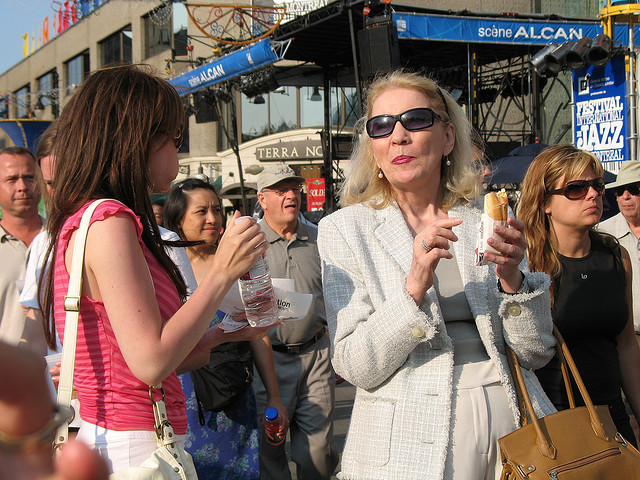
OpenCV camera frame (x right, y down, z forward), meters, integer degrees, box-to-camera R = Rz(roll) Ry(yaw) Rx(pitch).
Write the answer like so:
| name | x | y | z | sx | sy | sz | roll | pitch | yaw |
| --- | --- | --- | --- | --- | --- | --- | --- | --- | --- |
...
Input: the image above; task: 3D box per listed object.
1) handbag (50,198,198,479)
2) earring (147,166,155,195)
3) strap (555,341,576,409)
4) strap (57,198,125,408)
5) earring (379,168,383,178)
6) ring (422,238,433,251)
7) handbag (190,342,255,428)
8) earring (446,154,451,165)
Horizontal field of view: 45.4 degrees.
| name | x | y | z | sx | sy | sz | roll | pitch | yaw |
| --- | --- | --- | --- | --- | --- | --- | --- | --- | --- |
| handbag | -0.856 | 0.441 | 3.299 | 0.619 | 1.213 | 0.432 | -1 | 6 | -3 |
| earring | -0.790 | -0.276 | 3.586 | 0.032 | 0.124 | 0.070 | -1 | 6 | -7 |
| strap | 1.235 | 0.687 | 3.809 | 0.030 | 0.319 | 0.072 | -7 | -14 | -9 |
| strap | -1.032 | 0.262 | 3.335 | 0.136 | 0.864 | 0.302 | 4 | 7 | 35 |
| earring | 0.328 | -0.347 | 4.130 | 0.022 | 0.042 | 0.016 | -2 | -17 | -5 |
| ring | 0.503 | 0.025 | 3.591 | 0.035 | 0.018 | 0.045 | 22 | 22 | -31 |
| handbag | -0.597 | 0.975 | 4.967 | 0.317 | 0.639 | 0.437 | -1 | -13 | -5 |
| earring | 0.694 | -0.430 | 4.137 | 0.023 | 0.047 | 0.032 | 1 | 6 | 16 |
